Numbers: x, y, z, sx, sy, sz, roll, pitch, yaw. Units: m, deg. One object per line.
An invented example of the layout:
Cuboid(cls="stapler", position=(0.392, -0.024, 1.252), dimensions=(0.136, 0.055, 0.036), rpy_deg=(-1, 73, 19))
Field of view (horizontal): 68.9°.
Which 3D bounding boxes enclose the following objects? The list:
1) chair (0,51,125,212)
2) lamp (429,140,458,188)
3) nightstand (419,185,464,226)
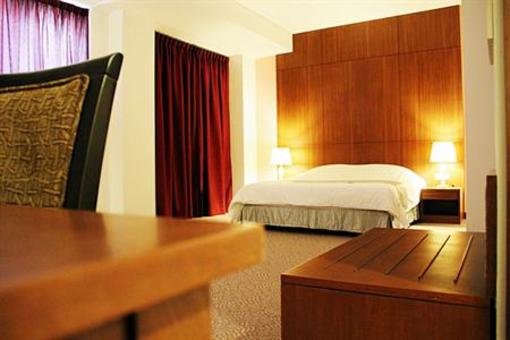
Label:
Cuboid(cls="chair", position=(-0.455, -0.101, 0.875), dimensions=(0.256, 0.352, 0.158), rpy_deg=(0, 4, 14))
Cuboid(cls="lamp", position=(2.481, -0.091, 4.908), dimensions=(0.315, 0.599, 0.437), rpy_deg=(1, 4, 28))
Cuboid(cls="nightstand", position=(2.401, 0.452, 4.796), dimensions=(0.458, 0.455, 0.368), rpy_deg=(-1, 1, 38))
